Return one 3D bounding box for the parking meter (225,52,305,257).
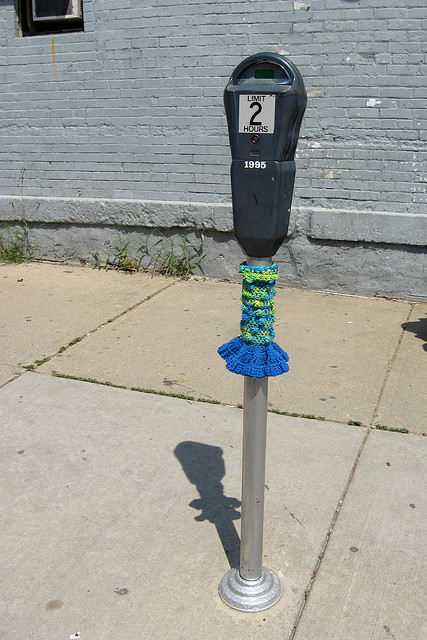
[{"bbox_3d":[0.133,-0.426,1.526,0.204,0.523,0.165,1,20,2],"label":"parking meter"}]
